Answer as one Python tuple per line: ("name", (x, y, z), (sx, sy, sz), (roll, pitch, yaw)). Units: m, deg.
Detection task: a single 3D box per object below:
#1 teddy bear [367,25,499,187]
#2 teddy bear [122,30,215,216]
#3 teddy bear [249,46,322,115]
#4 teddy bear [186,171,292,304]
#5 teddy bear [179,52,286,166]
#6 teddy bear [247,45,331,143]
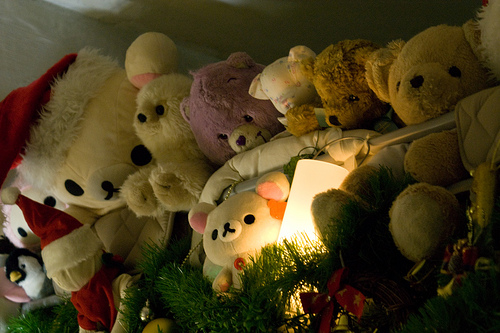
("teddy bear", (0.427, -0.132, 1.111), (0.208, 0.295, 0.267), (-11, -20, -49))
("teddy bear", (-0.286, -0.135, 1.713), (0.393, 0.637, 0.370), (-9, 5, -13))
("teddy bear", (0.114, -0.235, 1.465), (0.198, 0.170, 0.196), (-30, 2, 5))
("teddy bear", (-0.012, 0.213, 1.316), (0.310, 0.320, 0.184), (-20, -25, 23))
("teddy bear", (-0.055, -0.162, 1.522), (0.279, 0.209, 0.199), (34, 23, 3))
("teddy bear", (0.132, -0.229, 1.436), (0.202, 0.148, 0.235), (-20, -59, 42))
